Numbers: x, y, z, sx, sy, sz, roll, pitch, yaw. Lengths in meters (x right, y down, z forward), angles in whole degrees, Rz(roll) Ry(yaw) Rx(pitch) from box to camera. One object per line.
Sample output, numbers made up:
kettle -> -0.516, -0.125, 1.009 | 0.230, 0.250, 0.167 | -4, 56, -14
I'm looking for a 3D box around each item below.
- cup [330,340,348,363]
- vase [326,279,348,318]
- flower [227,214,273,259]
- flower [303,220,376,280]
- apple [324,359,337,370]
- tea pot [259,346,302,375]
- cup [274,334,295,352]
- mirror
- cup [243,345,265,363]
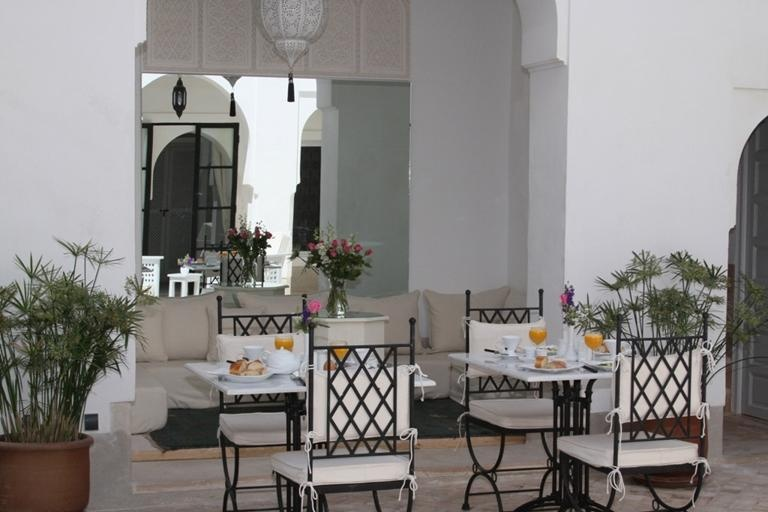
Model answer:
cup -> -0.298, 0.643, 5.719 | 0.104, 0.129, 0.105 | 0, 10, 0
vase -> -0.470, 0.439, 8.585 | 0.187, 0.469, 0.186 | 2, -30, -17
flower -> -1.504, -0.147, 9.570 | 0.436, 0.458, 0.332 | -2, 5, -19
flower -> -0.434, 0.028, 8.728 | 0.523, 0.517, 0.579 | 7, -5, 5
apple -> -0.361, 0.723, 5.598 | 0.072, 0.076, 0.077 | 1, -8, 1
tea pot -> -0.730, 0.754, 6.141 | 0.219, 0.140, 0.170 | -2, 7, -24
cup -> -0.749, 0.648, 6.319 | 0.112, 0.139, 0.118 | 1, -2, 0
mirror -> -1.351, -0.764, 9.361 | 2.327, 2.205, 0.115 | 0, 5, -7
cup -> -0.957, 0.717, 6.242 | 0.099, 0.103, 0.129 | -4, -7, 45
